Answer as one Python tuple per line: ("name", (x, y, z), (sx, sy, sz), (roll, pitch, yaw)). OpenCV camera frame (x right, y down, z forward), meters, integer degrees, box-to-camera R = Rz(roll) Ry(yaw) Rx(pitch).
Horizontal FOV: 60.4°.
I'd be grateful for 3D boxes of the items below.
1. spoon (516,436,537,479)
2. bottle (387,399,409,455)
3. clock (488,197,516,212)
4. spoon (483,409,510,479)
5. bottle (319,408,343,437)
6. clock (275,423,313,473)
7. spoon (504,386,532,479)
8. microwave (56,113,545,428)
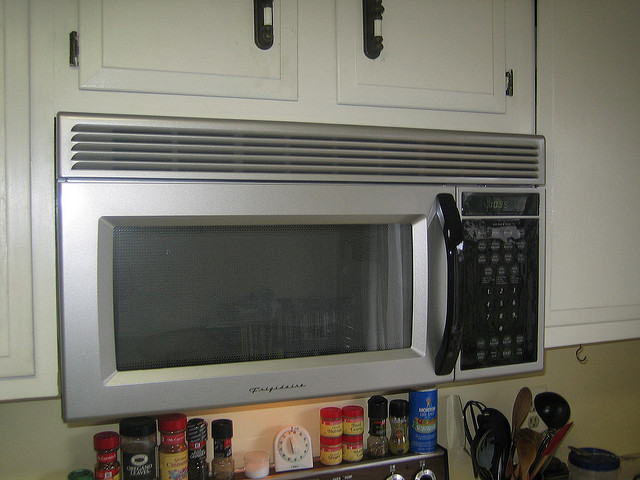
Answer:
("spoon", (0.511, 0.531, 1.373), (0.030, 0.116, 0.019), (6, 7, 26))
("bottle", (0.204, 0.473, 1.403), (0.053, 0.132, 0.055), (-1, -3, 0))
("clock", (0.435, -0.084, 1.309), (0.062, 0.036, 0.015), (3, -5, -18))
("spoon", (0.466, 0.511, 1.447), (0.028, 0.220, 0.042), (5, -4, -4))
("bottle", (0.029, 0.452, 1.373), (0.062, 0.068, 0.063), (-1, 0, -35))
("clock", (-0.065, 0.507, 1.330), (0.086, 0.109, 0.052), (1, -9, -14))
("spoon", (0.538, 0.470, 1.479), (0.052, 0.314, 0.031), (23, -20, -29))
("microwave", (-0.033, 0.032, 1.460), (1.096, 0.635, 0.575), (-2, 8, -15))
